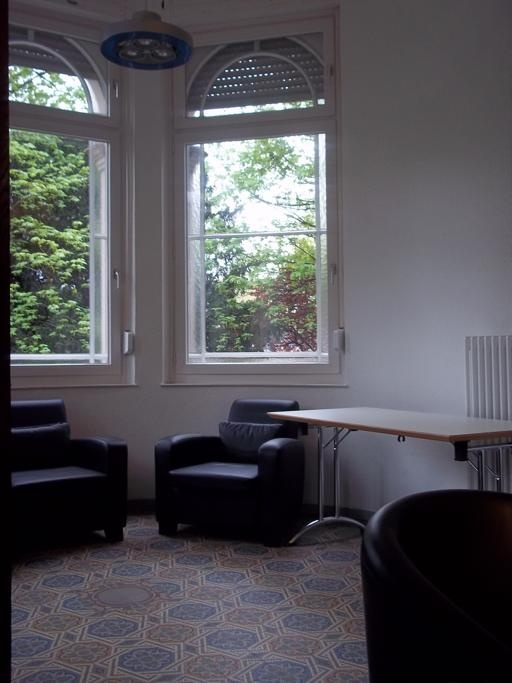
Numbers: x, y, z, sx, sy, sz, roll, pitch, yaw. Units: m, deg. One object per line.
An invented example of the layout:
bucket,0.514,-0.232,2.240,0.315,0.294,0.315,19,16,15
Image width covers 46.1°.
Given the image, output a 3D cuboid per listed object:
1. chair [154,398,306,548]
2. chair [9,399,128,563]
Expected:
chair,-0.139,0.792,3.924,0.931,0.789,0.899,1,-5,6
chair,-1.219,0.797,3.697,0.668,0.837,0.644,2,-3,-36
